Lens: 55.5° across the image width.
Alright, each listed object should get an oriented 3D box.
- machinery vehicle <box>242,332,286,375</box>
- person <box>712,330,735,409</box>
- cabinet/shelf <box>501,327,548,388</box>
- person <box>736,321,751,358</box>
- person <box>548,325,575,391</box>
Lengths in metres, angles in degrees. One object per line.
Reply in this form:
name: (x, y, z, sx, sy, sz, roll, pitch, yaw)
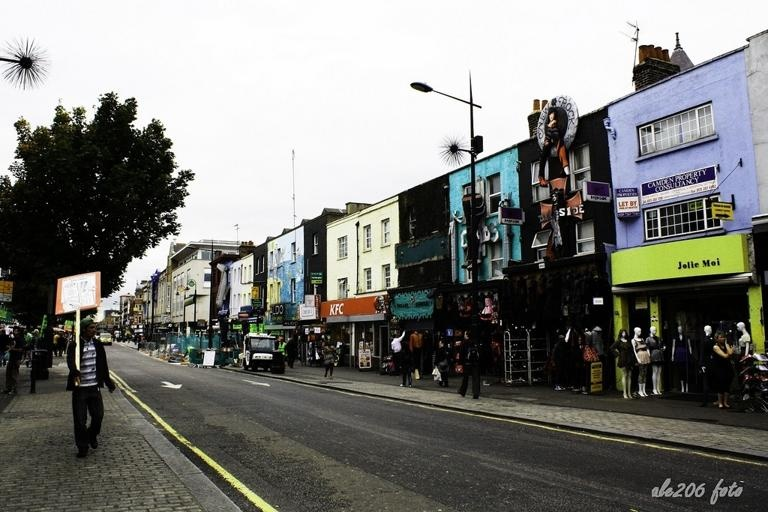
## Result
machinery vehicle: (-7.641, 5.609, 43.687, 2.012, 1.939, 3.400, 5, -4, -28)
person: (11.119, 3.754, 23.940, 0.702, 2.473, 1.191, -6, -12, 25)
cabinet/shelf: (6.166, 4.460, 31.593, 1.659, 1.826, 0.675, -31, -25, 30)
person: (12.083, 2.880, 24.583, 0.400, 1.469, 0.587, 1, -23, 32)
person: (7.210, 4.195, 29.520, 0.940, 2.507, 1.349, -3, -11, 10)
